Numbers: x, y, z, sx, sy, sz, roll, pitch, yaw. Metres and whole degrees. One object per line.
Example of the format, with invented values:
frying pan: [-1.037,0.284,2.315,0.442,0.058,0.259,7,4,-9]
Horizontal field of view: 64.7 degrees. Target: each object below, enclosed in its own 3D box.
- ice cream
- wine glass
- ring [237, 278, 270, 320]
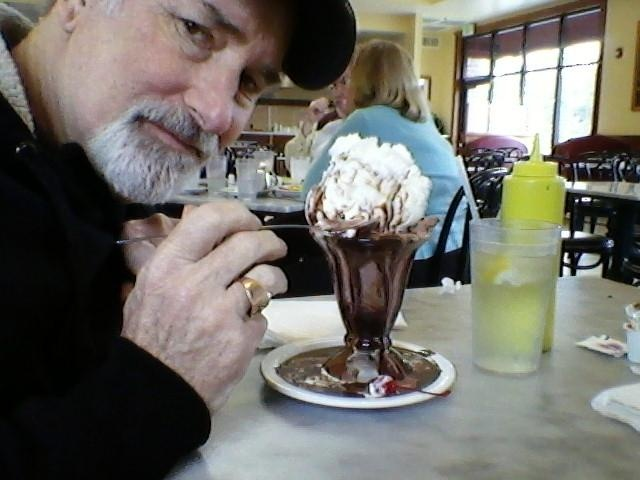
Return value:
ice cream: [0.085,0.043,0.845,0.221,0.388,0.207,1,14,2]
wine glass: [0.085,0.091,0.967,0.241,0.300,0.277,10,14,37]
ring: [-0.094,0.082,0.734,0.056,0.040,0.024,-34,-13,-2]
